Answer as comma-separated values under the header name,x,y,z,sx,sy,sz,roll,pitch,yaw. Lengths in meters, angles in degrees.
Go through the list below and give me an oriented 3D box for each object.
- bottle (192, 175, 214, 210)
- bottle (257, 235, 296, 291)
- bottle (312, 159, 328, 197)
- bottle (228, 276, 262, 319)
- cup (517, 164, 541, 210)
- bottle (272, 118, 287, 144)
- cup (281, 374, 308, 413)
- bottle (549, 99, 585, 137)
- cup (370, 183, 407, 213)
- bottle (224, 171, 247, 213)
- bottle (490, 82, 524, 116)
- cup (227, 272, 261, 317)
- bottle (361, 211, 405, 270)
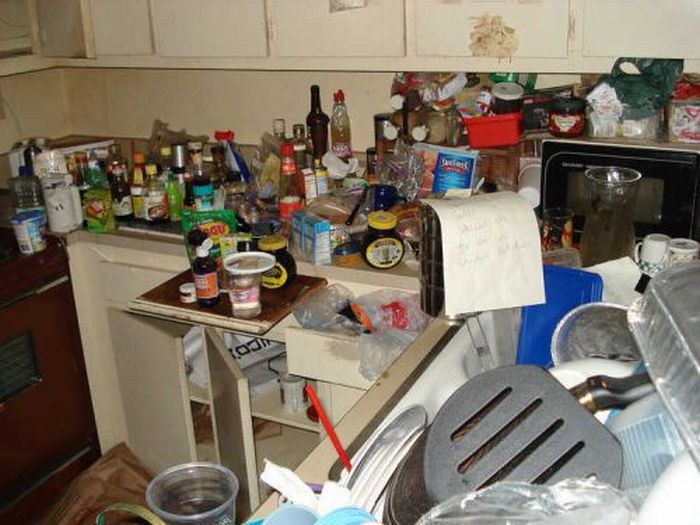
name,x,y,z,sx,sy,sz,roll,pitch,yaw
bottle,-0.531,-0.255,1.933,0.076,0.128,0.133,-8,22,-15
bottle,-0.231,0.006,1.664,0.138,0.178,0.103,-5,16,4
bottle,-0.110,-0.312,2.004,0.058,0.103,0.100,-4,21,-5
bottle,-0.304,0.101,1.549,0.087,0.137,0.087,0,24,0
cup,0.611,-0.265,1.797,0.073,0.150,0.137,4,22,16
bottle,-0.293,-0.563,2.246,0.050,0.090,0.146,-4,21,-5
cup,-0.202,0.465,1.911,0.103,0.132,0.069,-1,21,5
bottle,0.699,-0.477,1.767,0.122,0.120,0.126,-1,26,8
cup,0.123,-0.225,1.807,0.134,0.089,0.090,8,23,25
bottle,-0.432,-0.272,2.011,0.083,0.124,0.163,-6,21,-11
bottle,0.570,-0.597,1.911,0.110,0.108,0.167,3,22,14
cup,-0.304,0.091,1.545,0.076,0.113,0.083,1,27,-1
bottle,0.105,-0.064,1.640,0.147,0.195,0.096,-5,32,-4
